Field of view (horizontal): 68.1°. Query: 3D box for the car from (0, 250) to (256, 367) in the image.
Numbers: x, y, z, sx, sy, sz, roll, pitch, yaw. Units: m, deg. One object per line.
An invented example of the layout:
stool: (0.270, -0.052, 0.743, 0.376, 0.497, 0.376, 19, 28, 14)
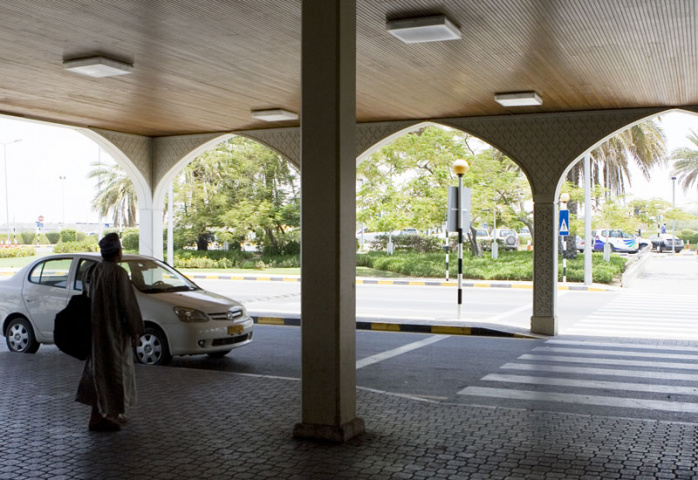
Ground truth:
car: (-4.111, 1.141, 9.653, 4.328, 1.537, 2.015, 1, -1, 12)

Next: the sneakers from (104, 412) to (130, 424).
sneakers: (-2.559, 1.967, 5.678, 0.148, 0.092, 0.189, -3, -3, 1)

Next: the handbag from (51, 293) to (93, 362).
handbag: (-2.989, 0.963, 5.624, 0.506, 0.643, 0.237, -2, -5, 1)

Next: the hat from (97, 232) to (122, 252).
hat: (-2.689, 0.033, 5.928, 0.221, 0.243, 0.272, 0, 15, 3)

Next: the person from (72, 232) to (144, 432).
person: (-2.666, 1.002, 5.740, 0.693, 2.140, 0.467, -2, 2, -19)

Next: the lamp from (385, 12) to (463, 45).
lamp: (1.088, -3.018, 7.416, 0.972, 0.179, 0.697, 0, 3, 19)

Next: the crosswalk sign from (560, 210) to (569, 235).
crosswalk sign: (9.328, -0.758, 22.416, 0.348, 1.114, 1.350, -1, 2, 20)
